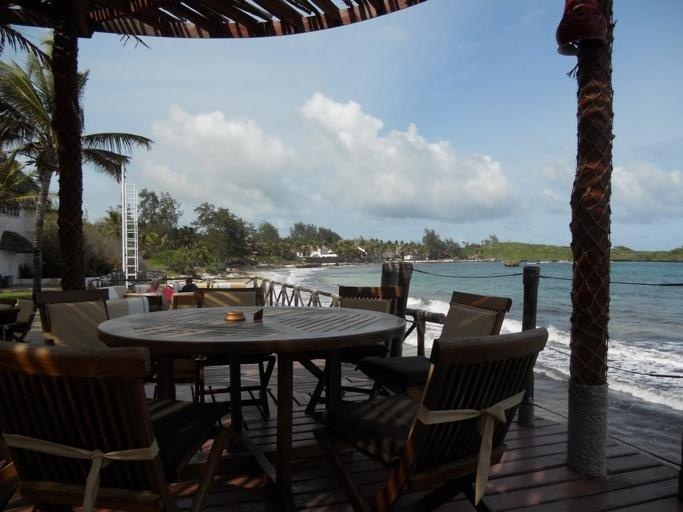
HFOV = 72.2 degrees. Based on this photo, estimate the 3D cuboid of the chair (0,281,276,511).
[{"bbox_3d":[-1.090,0.460,2.660,1.087,1.529,1.048,1,3,10],"label":"chair"}]
